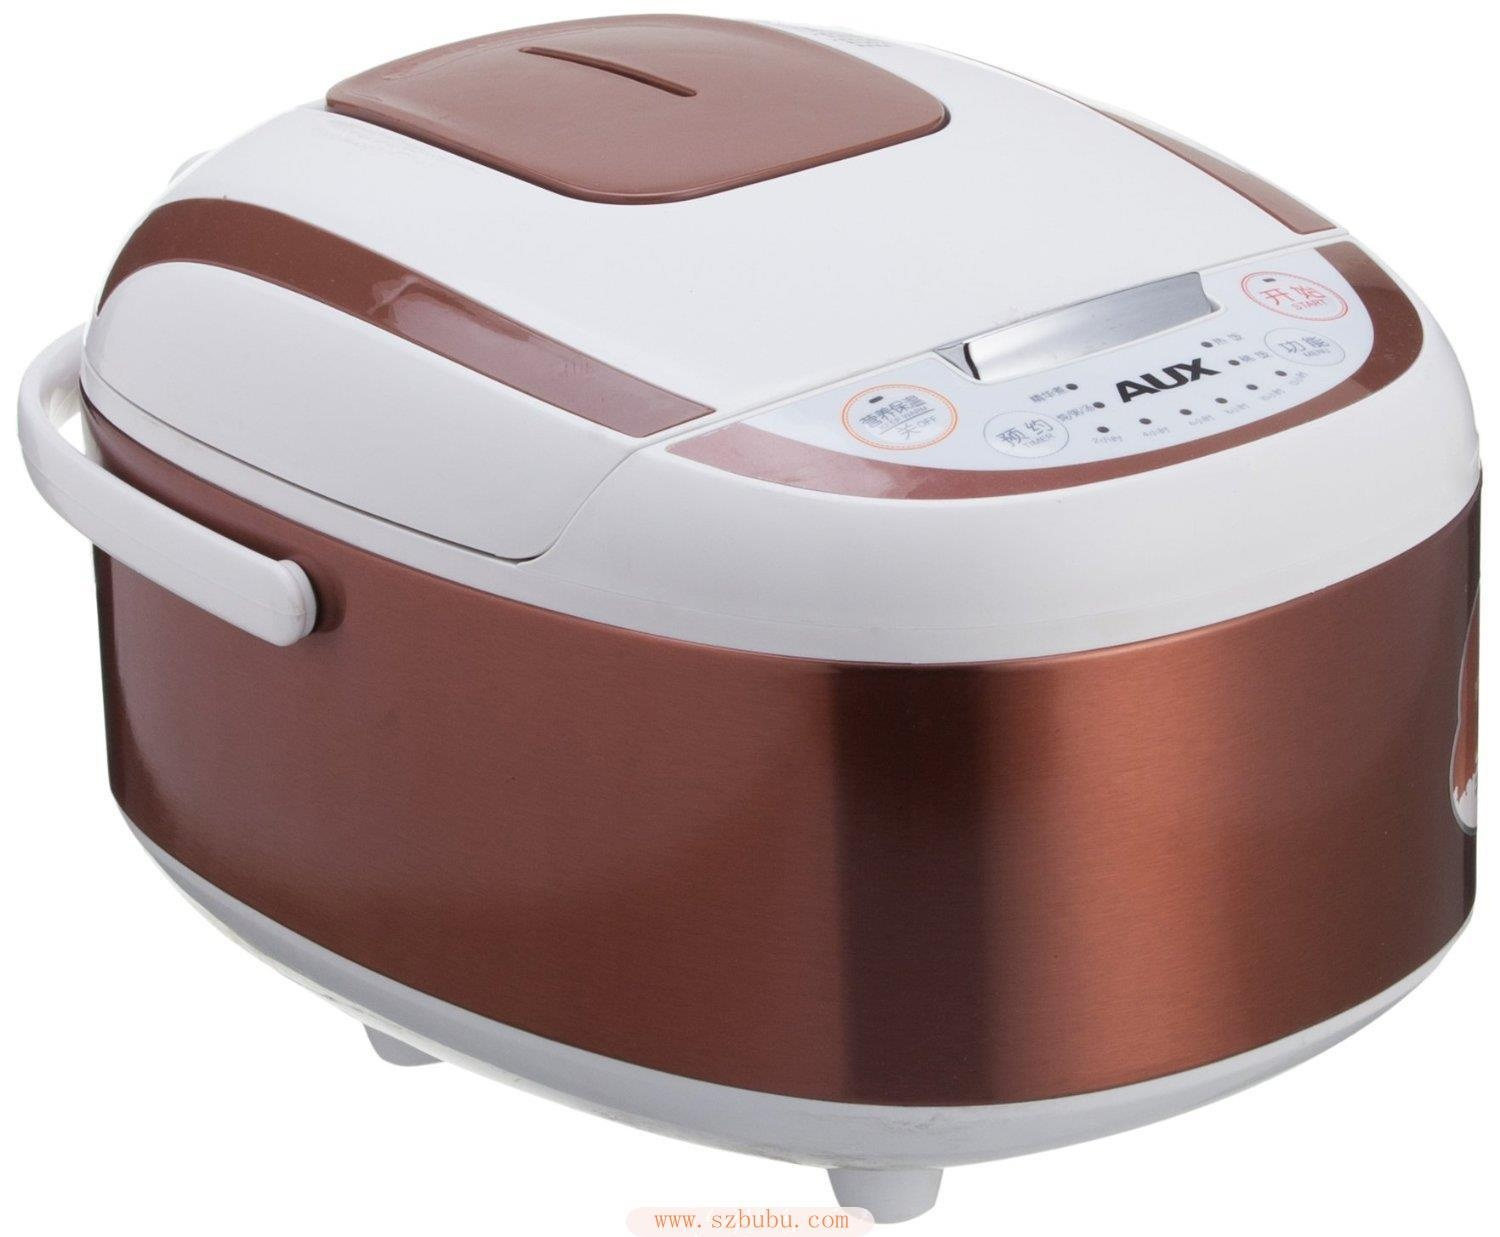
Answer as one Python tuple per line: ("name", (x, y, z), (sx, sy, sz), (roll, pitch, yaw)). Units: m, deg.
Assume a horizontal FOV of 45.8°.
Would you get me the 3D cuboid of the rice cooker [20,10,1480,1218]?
("rice cooker", (-0.047, -0.104, 1.118), (0.964, 0.445, 0.719), (17, 28, 35))
